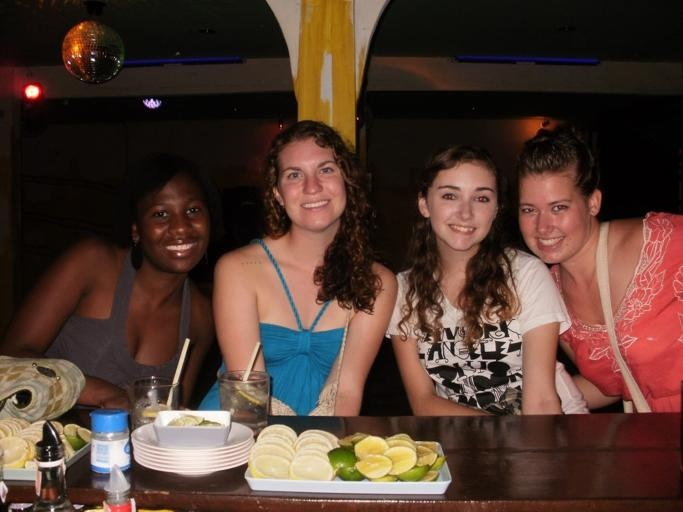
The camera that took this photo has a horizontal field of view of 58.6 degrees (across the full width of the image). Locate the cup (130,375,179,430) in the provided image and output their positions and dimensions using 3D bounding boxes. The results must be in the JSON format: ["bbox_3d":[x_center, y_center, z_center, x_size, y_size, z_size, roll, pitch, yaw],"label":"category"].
[{"bbox_3d":[-0.683,0.528,2.210,0.178,0.207,0.188,1,-1,0],"label":"cup"}]

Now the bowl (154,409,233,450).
[{"bbox_3d":[-0.494,0.567,2.018,0.191,0.073,0.130,2,-5,-2],"label":"bowl"}]

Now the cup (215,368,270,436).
[{"bbox_3d":[-0.339,0.518,2.194,0.201,0.233,0.212,1,-1,0],"label":"cup"}]

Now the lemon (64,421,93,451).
[{"bbox_3d":[-0.917,0.644,2.166,0.077,0.052,0.080,18,-17,23],"label":"lemon"}]

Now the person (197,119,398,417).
[{"bbox_3d":[-0.171,0.068,3.131,0.918,1.471,0.326,2,-3,4],"label":"person"}]
